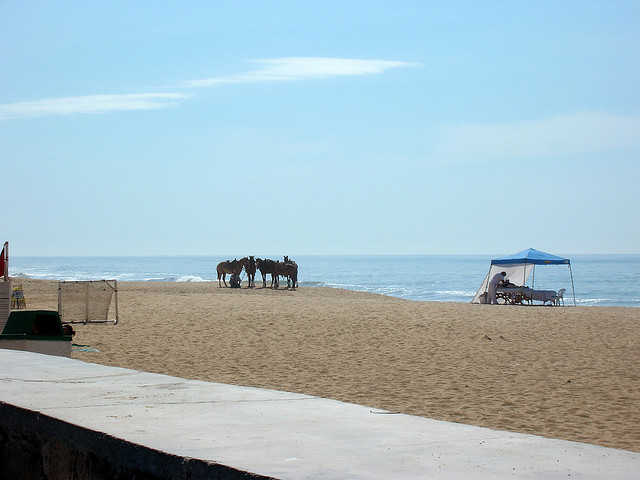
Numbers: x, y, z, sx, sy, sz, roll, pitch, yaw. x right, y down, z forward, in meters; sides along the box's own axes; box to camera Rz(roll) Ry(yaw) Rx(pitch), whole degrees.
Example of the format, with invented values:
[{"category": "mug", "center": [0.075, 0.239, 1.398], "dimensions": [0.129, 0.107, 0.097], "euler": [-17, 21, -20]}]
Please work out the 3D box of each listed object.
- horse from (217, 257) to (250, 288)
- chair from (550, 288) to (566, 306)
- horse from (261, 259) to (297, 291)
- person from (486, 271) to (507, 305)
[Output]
[{"category": "horse", "center": [-3.890, 1.527, 42.710], "dimensions": [1.848, 1.333, 0.440], "euler": [2, 6, 31]}, {"category": "chair", "center": [7.944, 1.960, 31.928], "dimensions": [0.421, 0.545, 2.144], "euler": [0, -4, 13]}, {"category": "horse", "center": [-1.751, 1.547, 41.536], "dimensions": [1.543, 1.282, 2.208], "euler": [2, -4, -18]}, {"category": "person", "center": [5.956, 1.649, 32.161], "dimensions": [0.546, 1.039, 0.902], "euler": [0, -3, 4]}]
